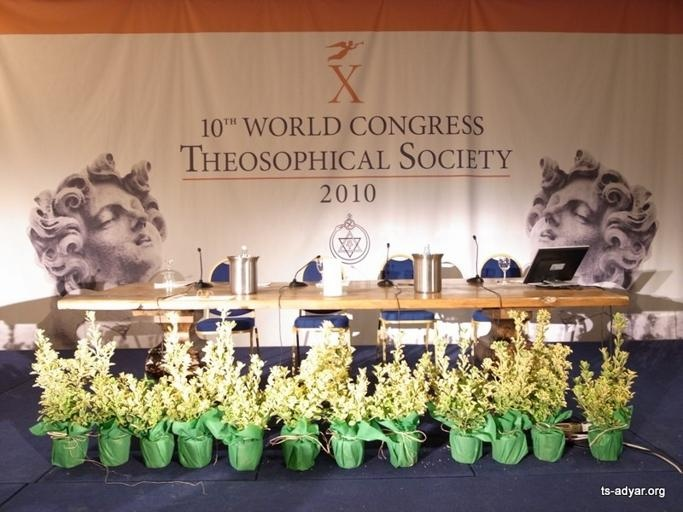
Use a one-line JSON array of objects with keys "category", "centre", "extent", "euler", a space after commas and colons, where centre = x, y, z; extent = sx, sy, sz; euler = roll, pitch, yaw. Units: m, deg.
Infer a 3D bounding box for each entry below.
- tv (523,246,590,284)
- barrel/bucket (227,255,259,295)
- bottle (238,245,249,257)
[{"category": "tv", "centre": [1.745, 0.075, 6.000], "extent": [0.533, 0.360, 0.302], "euler": [0, 31, -7]}, {"category": "barrel/bucket", "centre": [-0.797, 0.154, 5.893], "extent": [0.298, 0.308, 0.272], "euler": [-1, 0, 0]}, {"category": "bottle", "centre": [-0.896, -0.045, 6.648], "extent": [0.130, 0.135, 0.128], "euler": [0, -3, -8]}]
